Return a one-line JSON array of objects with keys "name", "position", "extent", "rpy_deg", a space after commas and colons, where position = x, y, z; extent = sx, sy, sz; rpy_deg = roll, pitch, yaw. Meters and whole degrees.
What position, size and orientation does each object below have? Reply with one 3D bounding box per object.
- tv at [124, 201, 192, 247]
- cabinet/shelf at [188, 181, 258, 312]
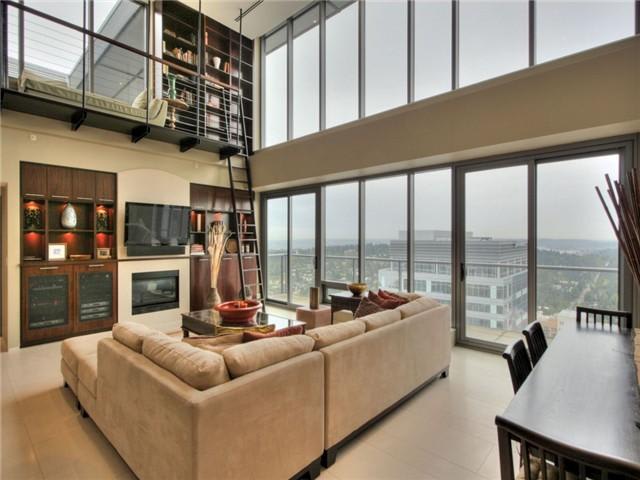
[{"name": "tv", "position": [-2.694, -0.260, 7.128], "extent": [0.063, 0.530, 0.789], "rpy_deg": [3, 2, 44]}, {"name": "cabinet/shelf", "position": [-1.936, 0.106, 8.161], "extent": [1.311, 2.273, 0.470], "rpy_deg": [0, -2, -42]}]
